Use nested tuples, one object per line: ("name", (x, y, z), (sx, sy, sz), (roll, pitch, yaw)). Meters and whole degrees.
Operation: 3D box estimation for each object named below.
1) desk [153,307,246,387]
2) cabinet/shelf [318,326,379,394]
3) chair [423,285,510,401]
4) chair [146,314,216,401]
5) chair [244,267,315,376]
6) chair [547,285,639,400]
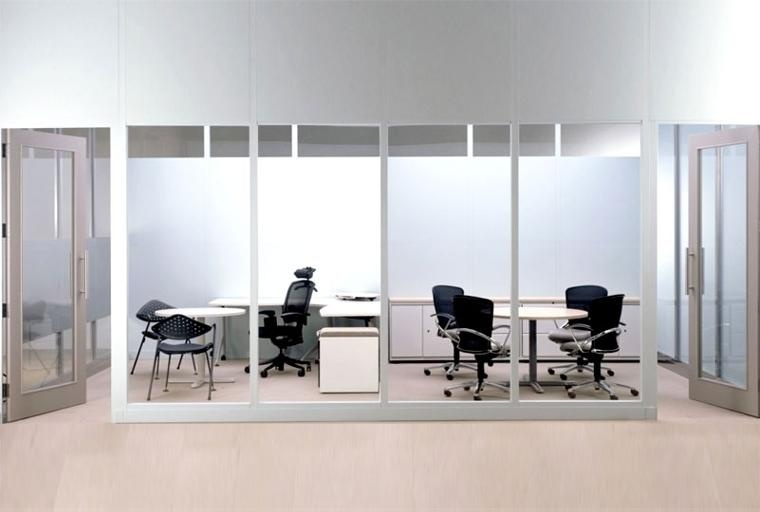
("desk", (-2.609, 1.248, 10.304), (1.157, 1.003, 1.169), (1, 2, -4))
("cabinet/shelf", (-0.415, 1.441, 9.697), (0.817, 0.841, 0.806), (0, -4, 0))
("chair", (1.186, 1.154, 9.654), (1.054, 1.379, 1.616), (-1, 4, -2))
("chair", (-2.825, 1.286, 9.775), (0.872, 1.092, 1.863), (-2, 4, -16))
("chair", (-1.405, 0.985, 10.470), (0.839, 1.504, 1.260), (-1, 4, -5))
("chair", (3.098, 1.133, 9.806), (1.324, 1.601, 1.379), (1, 0, 8))
